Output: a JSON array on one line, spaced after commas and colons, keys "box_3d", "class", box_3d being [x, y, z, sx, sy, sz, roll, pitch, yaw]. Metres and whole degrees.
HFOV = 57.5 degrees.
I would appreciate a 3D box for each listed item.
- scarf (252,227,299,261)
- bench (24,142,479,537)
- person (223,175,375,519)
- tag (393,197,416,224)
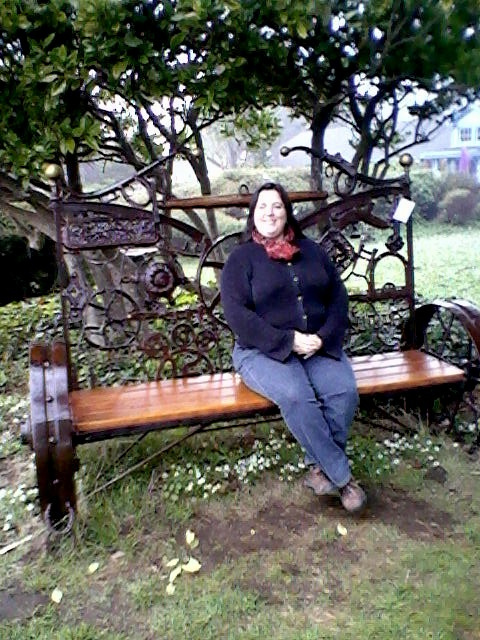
[{"box_3d": [0.198, -0.416, 2.400, 0.239, 0.173, 0.244, -5, 13, -6], "class": "scarf"}, {"box_3d": [0.135, 0.103, 2.699, 2.471, 1.923, 0.813, -7, 19, -14], "class": "bench"}, {"box_3d": [0.244, 0.072, 2.240, 0.613, 1.540, 0.889, -4, 13, -2], "class": "person"}, {"box_3d": [1.124, -0.762, 3.022, 0.131, 0.172, 0.084, 1, 14, 18], "class": "tag"}]
